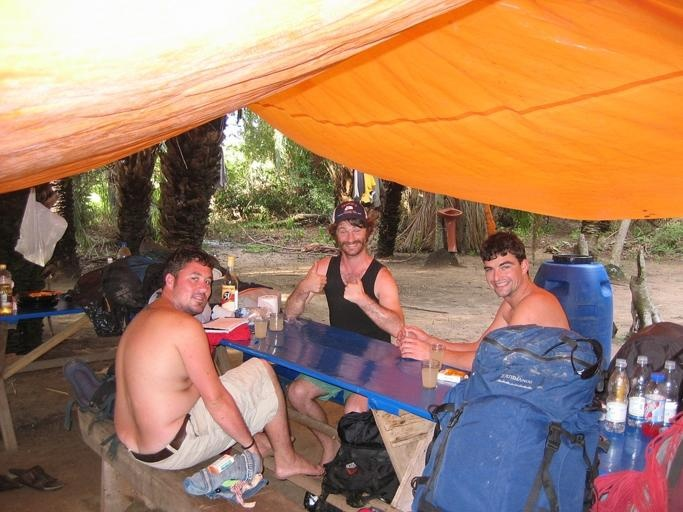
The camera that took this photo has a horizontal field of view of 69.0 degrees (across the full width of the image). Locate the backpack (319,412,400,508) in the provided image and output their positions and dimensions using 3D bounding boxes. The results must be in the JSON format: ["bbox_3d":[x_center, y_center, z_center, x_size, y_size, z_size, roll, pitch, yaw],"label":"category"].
[{"bbox_3d":[0.109,1.121,2.850,0.438,0.490,0.236,-12,-22,24],"label":"backpack"}]

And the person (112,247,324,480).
[{"bbox_3d":[-0.760,0.701,2.856,0.925,1.441,0.642,-6,11,-31],"label":"person"}]

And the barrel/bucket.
[{"bbox_3d":[2.539,0.617,5.455,0.852,1.166,0.845,-4,8,1],"label":"barrel/bucket"}]

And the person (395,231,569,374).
[{"bbox_3d":[0.896,0.281,3.171,1.207,0.790,0.716,-5,13,-13],"label":"person"}]

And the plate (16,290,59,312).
[{"bbox_3d":[-2.983,0.435,4.872,0.332,0.104,0.251,4,4,25],"label":"plate"}]
